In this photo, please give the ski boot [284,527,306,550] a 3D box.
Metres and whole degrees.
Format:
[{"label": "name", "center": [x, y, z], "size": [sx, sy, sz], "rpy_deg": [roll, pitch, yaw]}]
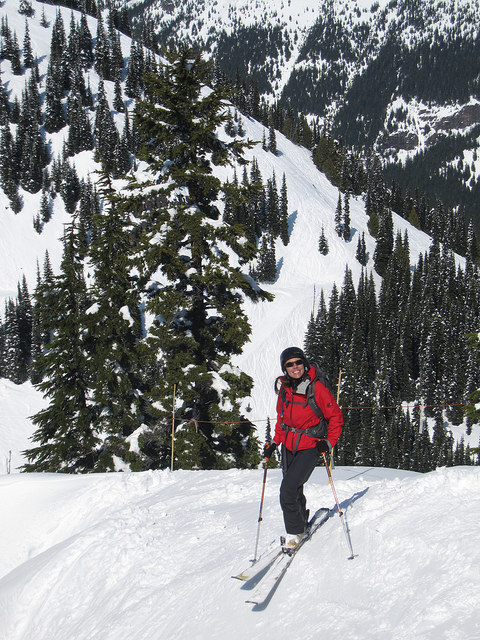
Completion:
[{"label": "ski boot", "center": [1.010, 4.003, 17.068], "size": [0.181, 0.281, 0.612], "rpy_deg": [2, 33, 30]}]
